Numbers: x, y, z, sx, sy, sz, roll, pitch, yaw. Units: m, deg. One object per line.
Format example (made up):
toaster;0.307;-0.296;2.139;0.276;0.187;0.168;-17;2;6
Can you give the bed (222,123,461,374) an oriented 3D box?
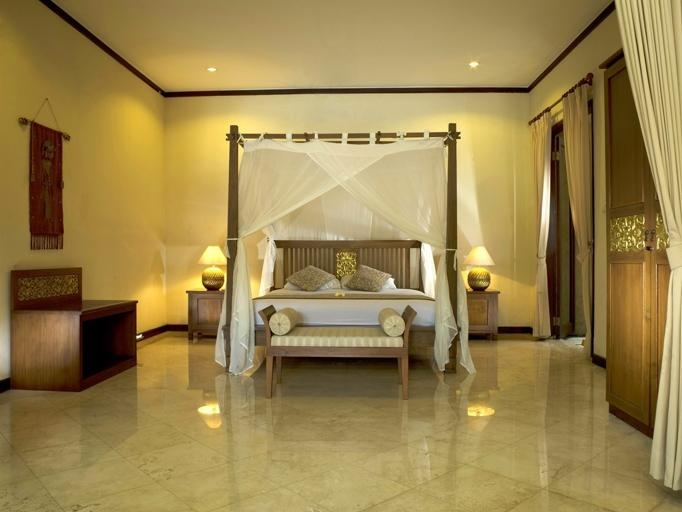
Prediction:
bed;0.155;-0.451;6.585;3.108;3.356;2.776;0;-4;2

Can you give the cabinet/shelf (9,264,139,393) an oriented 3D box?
cabinet/shelf;-2.815;0.721;5.257;0.667;1.240;1.242;-1;-1;0

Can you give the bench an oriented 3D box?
bench;-0.022;0.935;4.931;1.468;0.897;0.712;1;-2;3

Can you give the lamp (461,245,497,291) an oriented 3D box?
lamp;1.956;0.161;7.171;0.526;0.835;0.547;-2;4;-22

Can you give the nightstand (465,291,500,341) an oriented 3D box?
nightstand;1.964;0.808;6.984;0.475;0.699;0.691;-1;0;7

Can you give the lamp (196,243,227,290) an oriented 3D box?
lamp;-1.863;0.166;7.162;0.526;0.666;0.553;6;3;-17
